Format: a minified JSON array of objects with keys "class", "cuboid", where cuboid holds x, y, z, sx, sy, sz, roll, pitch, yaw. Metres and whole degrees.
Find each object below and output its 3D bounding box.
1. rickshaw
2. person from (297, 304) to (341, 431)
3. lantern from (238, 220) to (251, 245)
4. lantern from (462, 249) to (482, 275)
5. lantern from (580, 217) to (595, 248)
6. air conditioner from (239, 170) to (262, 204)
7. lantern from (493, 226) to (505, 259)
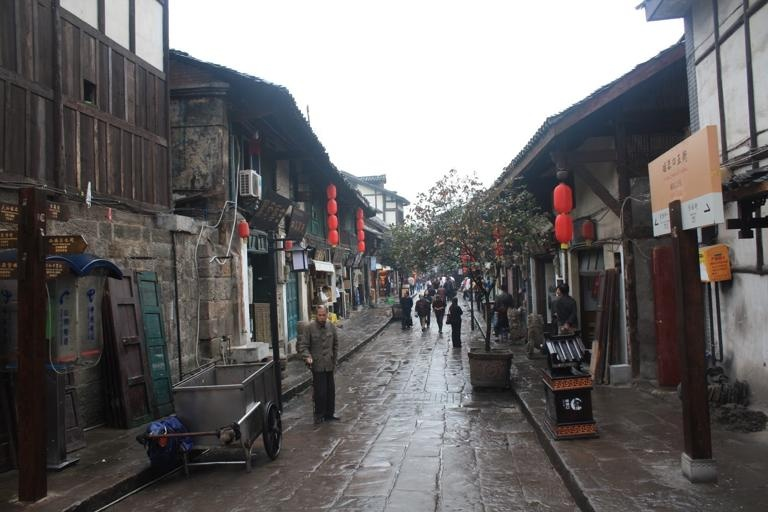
[{"class":"rickshaw","cuboid":[-2.409,2.387,9.421,1.561,1.811,1.999,-2,-3,5]},{"class":"person","cuboid":[-1.156,1.961,11.424,0.709,2.094,0.565,-6,5,-24]},{"class":"lantern","cuboid":[-3.366,-0.577,14.891,0.221,0.547,0.462,-4,5,0]},{"class":"lantern","cuboid":[2.214,0.155,15.807,0.467,0.648,1.480,0,-6,24]},{"class":"lantern","cuboid":[4.751,-0.528,14.651,0.212,0.640,0.459,-4,5,-4]},{"class":"air conditioner","cuboid":[-3.275,-1.672,15.078,0.385,0.739,0.589,-3,5,8]},{"class":"lantern","cuboid":[2.724,-0.298,15.029,0.208,0.836,0.308,-2,5,17]}]
